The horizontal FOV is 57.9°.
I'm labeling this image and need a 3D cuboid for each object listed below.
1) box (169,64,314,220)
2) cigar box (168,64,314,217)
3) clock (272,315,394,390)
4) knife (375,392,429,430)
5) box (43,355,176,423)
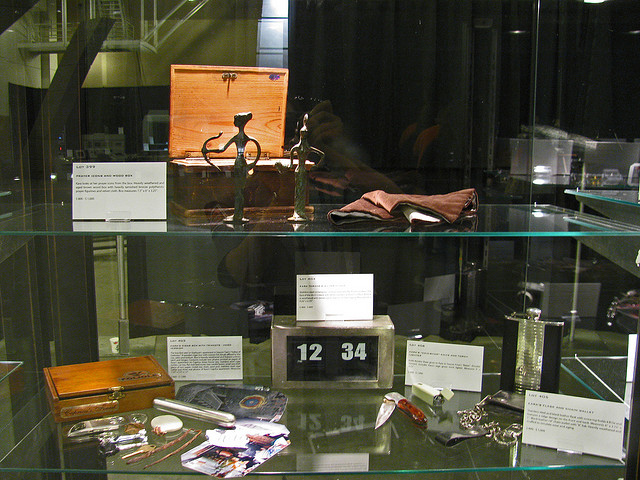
[{"bbox_3d":[-0.242,-0.290,1.619,0.395,0.468,0.282,-3,14,-26],"label":"box"},{"bbox_3d":[-0.240,-0.295,1.626,0.393,0.462,0.279,-3,14,-26],"label":"cigar box"},{"bbox_3d":[0.028,0.320,1.763,0.357,0.203,0.187,1,17,-6],"label":"clock"},{"bbox_3d":[0.227,0.501,1.642,0.145,0.035,0.146,16,28,28],"label":"knife"},{"bbox_3d":[-0.605,0.420,1.655,0.323,0.074,0.231,-1,12,-36],"label":"box"}]
